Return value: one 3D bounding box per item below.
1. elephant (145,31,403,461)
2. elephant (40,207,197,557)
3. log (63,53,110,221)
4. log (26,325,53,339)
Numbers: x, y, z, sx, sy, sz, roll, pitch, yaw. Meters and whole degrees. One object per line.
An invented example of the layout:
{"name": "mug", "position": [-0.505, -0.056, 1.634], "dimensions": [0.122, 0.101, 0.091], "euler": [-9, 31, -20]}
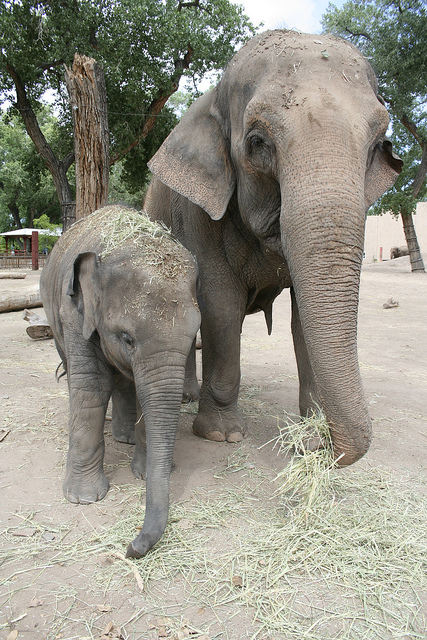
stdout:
{"name": "elephant", "position": [0.210, -0.372, 3.324], "dimensions": [1.210, 1.867, 2.536], "euler": [0, 5, -13]}
{"name": "elephant", "position": [-0.484, 0.147, 2.762], "dimensions": [0.648, 1.313, 1.634], "euler": [0, 10, -18]}
{"name": "log", "position": [-1.505, -2.153, 6.722], "dimensions": [0.460, 1.777, 0.682], "euler": [-2, 7, -12]}
{"name": "log", "position": [-2.028, 0.130, 6.517], "dimensions": [0.453, 0.149, 0.184], "euler": [0, -1, -12]}
